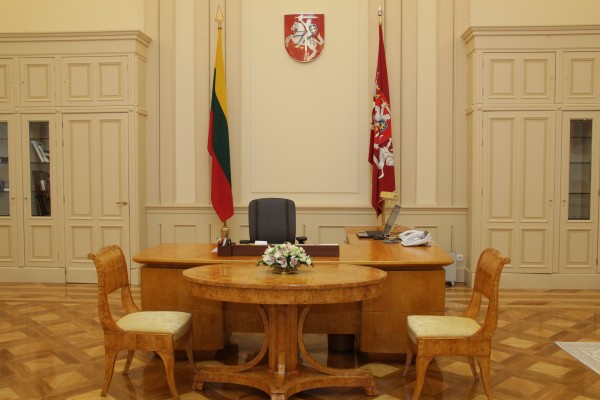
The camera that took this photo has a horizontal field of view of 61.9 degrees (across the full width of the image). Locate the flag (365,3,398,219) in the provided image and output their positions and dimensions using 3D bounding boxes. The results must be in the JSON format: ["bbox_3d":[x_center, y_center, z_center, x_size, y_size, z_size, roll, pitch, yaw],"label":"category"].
[{"bbox_3d":[1.226,-1.332,7.760,0.393,3.196,0.443,-4,8,-15],"label":"flag"}]

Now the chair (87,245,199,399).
[{"bbox_3d":[-1.542,1.186,4.970,0.857,1.426,0.484,-1,8,8],"label":"chair"}]

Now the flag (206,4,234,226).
[{"bbox_3d":[-1.283,-1.194,7.779,0.321,3.147,0.440,-4,8,-11],"label":"flag"}]

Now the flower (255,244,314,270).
[{"bbox_3d":[-0.111,0.517,4.859,0.346,0.183,0.349,3,3,43],"label":"flower"}]

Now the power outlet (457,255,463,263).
[{"bbox_3d":[2.513,0.931,7.903,0.124,0.107,0.023,-4,-7,-17],"label":"power outlet"}]

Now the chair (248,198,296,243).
[{"bbox_3d":[-0.324,0.272,6.871,0.581,0.737,0.605,-1,3,-4],"label":"chair"}]

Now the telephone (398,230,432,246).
[{"bbox_3d":[1.361,0.458,5.929,0.245,0.092,0.238,-4,7,-6],"label":"telephone"}]

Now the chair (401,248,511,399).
[{"bbox_3d":[1.517,1.211,4.916,0.914,1.396,0.575,-2,8,0],"label":"chair"}]

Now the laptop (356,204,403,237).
[{"bbox_3d":[1.043,0.295,6.480,0.465,0.298,0.502,-2,2,1],"label":"laptop"}]
